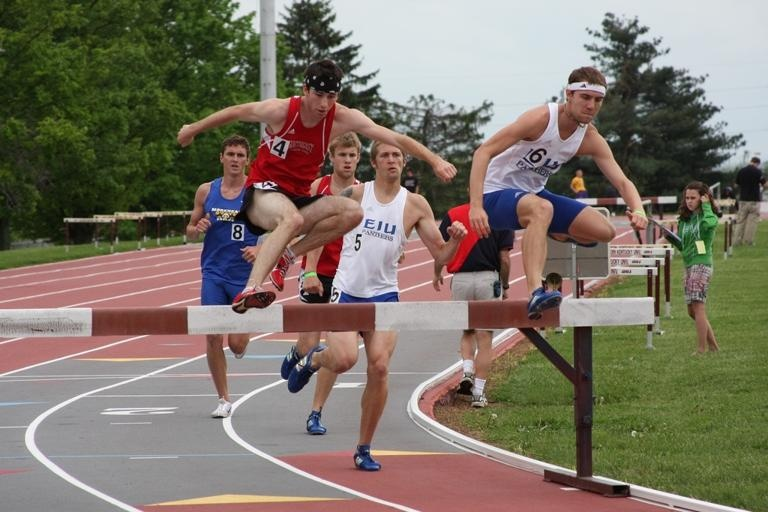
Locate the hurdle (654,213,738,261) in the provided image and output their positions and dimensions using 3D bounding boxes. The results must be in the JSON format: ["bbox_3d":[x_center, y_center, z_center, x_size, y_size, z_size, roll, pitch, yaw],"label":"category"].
[{"bbox_3d":[6.259,-0.367,18.698,1.390,0.834,0.975,0,-5,14],"label":"hurdle"}]

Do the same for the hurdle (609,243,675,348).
[{"bbox_3d":[4.112,0.634,14.921,0.738,1.695,0.712,0,0,-7],"label":"hurdle"}]
